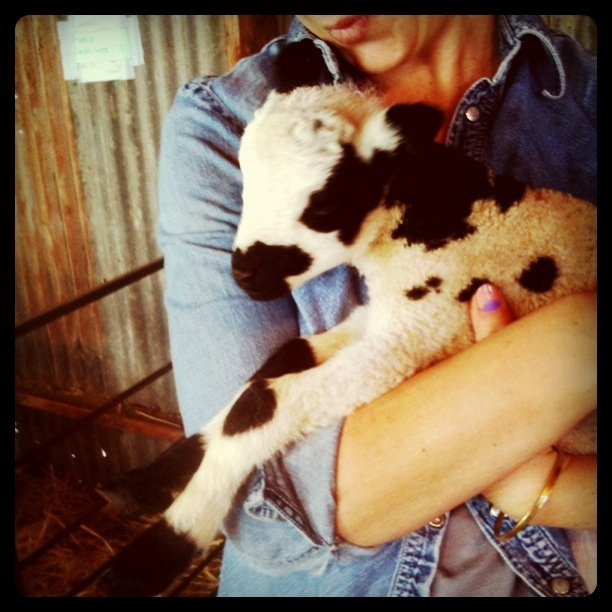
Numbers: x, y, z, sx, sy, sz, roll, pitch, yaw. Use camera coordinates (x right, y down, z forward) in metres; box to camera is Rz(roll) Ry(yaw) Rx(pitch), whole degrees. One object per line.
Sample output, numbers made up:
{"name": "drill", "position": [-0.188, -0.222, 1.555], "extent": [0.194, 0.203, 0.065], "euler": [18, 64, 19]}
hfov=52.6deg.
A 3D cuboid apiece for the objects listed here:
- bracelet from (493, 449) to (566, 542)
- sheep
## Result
{"name": "bracelet", "position": [0.407, 0.363, 1.157], "extent": [0.039, 0.155, 0.157], "euler": [36, 79, 1]}
{"name": "sheep", "position": [0.139, 0.051, 1.298], "extent": [1.175, 0.875, 0.373], "euler": [-10, 14, -24]}
